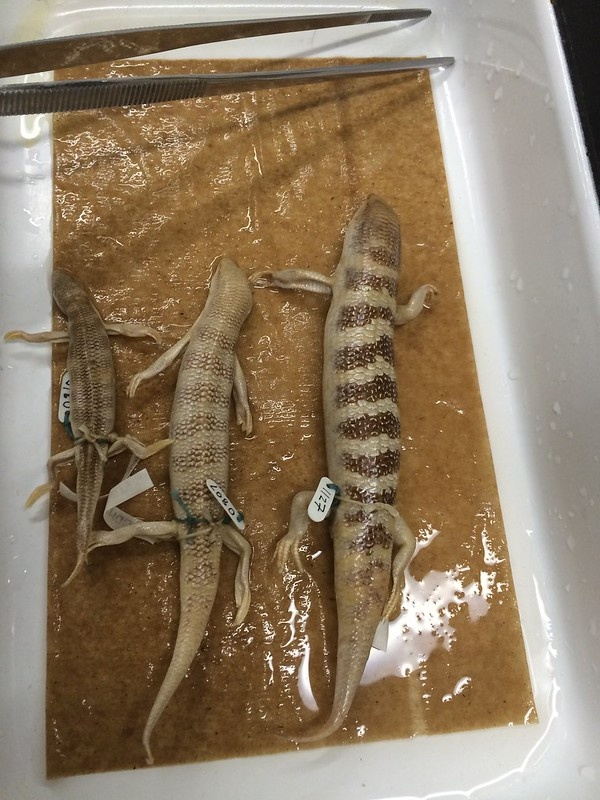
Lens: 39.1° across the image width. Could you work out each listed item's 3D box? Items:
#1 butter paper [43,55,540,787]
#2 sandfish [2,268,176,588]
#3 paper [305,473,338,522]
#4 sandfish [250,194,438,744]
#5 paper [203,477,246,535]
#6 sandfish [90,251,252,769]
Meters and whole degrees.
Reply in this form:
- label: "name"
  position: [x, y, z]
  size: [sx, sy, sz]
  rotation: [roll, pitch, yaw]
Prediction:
- label: "butter paper"
  position: [-0.078, -0.041, 1.361]
  size: [0.936, 0.174, 1.145]
  rotation: [-5, 86, -10]
- label: "sandfish"
  position: [-0.361, 0.055, 1.441]
  size: [0.274, 0.072, 0.510]
  rotation: [0, 69, -17]
- label: "paper"
  position: [0.035, 0.152, 1.298]
  size: [0.040, 0.018, 0.073]
  rotation: [27, 81, 6]
- label: "sandfish"
  position: [0.051, 0.068, 1.379]
  size: [0.248, 0.151, 0.875]
  rotation: [-1, 83, 2]
- label: "paper"
  position: [-0.120, 0.169, 1.322]
  size: [0.072, 0.070, 0.107]
  rotation: [-9, 37, -18]
- label: "sandfish"
  position: [-0.174, 0.132, 1.258]
  size: [0.274, 0.114, 0.698]
  rotation: [7, 77, -5]
